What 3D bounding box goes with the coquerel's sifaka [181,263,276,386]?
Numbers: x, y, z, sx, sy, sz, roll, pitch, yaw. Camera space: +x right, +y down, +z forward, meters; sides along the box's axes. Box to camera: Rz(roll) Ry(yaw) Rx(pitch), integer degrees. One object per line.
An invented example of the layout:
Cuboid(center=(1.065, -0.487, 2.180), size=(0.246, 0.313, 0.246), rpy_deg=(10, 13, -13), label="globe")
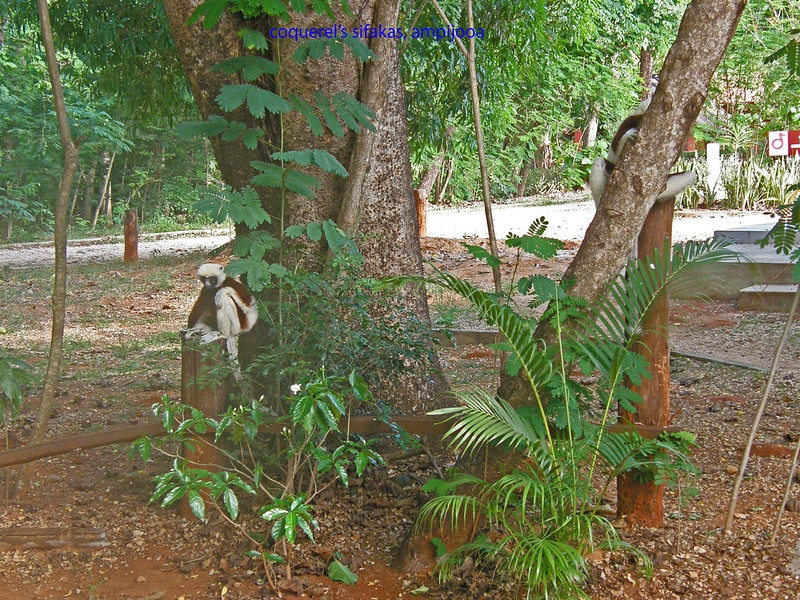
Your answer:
Cuboid(center=(-1.121, 0.130, 4.721), size=(0.455, 0.690, 0.457), rpy_deg=(2, 9, -11), label="coquerel's sifaka")
